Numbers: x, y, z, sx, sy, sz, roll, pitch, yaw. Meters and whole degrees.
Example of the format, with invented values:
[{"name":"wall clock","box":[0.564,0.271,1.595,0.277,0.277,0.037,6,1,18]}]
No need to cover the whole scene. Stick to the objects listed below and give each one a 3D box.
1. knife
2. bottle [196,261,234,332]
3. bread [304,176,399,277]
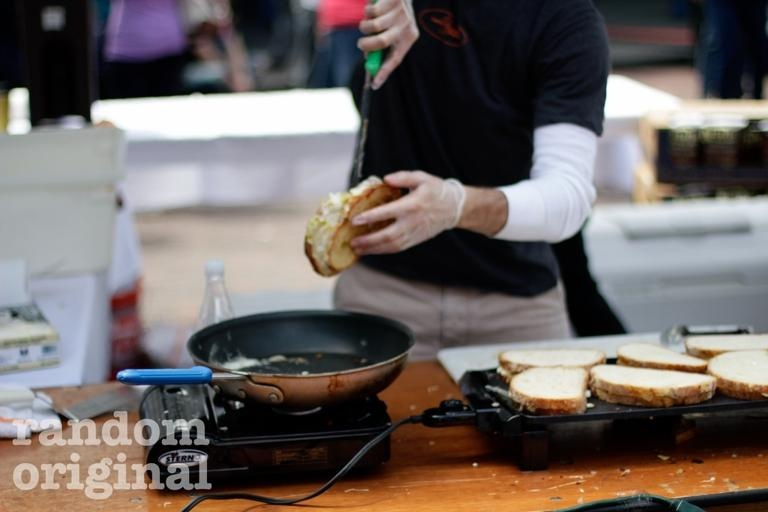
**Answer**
[{"name":"knife","box":[-0.051,-0.441,2.771,0.119,0.472,0.110,-4,11,-13]},{"name":"bottle","box":[-0.593,0.155,3.020,0.147,0.250,0.110,-10,25,-13]},{"name":"bread","box":[-0.124,-0.100,2.722,0.187,0.314,0.282,8,13,43]}]
